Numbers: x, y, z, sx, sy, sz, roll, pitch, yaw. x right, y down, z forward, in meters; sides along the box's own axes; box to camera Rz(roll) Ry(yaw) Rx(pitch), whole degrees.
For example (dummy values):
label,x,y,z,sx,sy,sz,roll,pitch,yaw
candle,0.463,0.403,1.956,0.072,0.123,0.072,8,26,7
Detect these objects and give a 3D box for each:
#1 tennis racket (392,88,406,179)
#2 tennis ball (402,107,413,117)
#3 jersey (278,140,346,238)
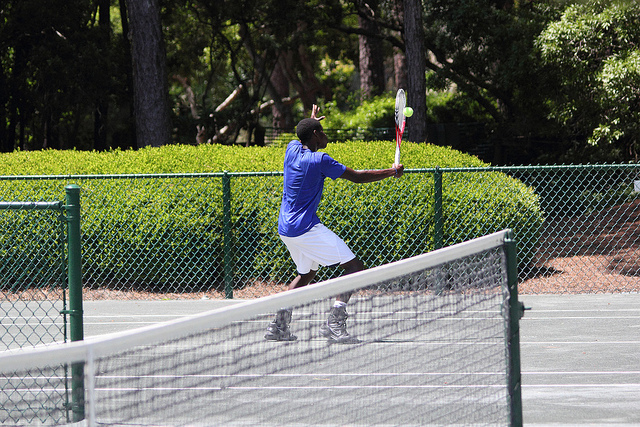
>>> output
label,x,y,z,sx,sy,sz,roll,pitch,yaw
tennis racket,1.572,-1.666,28.317,0.129,1.806,0.296,-1,9,-16
tennis ball,1.766,-2.141,28.197,0.178,0.192,0.187,15,-5,1
jersey,-0.222,-0.468,28.518,1.087,1.670,1.684,-3,19,-36
